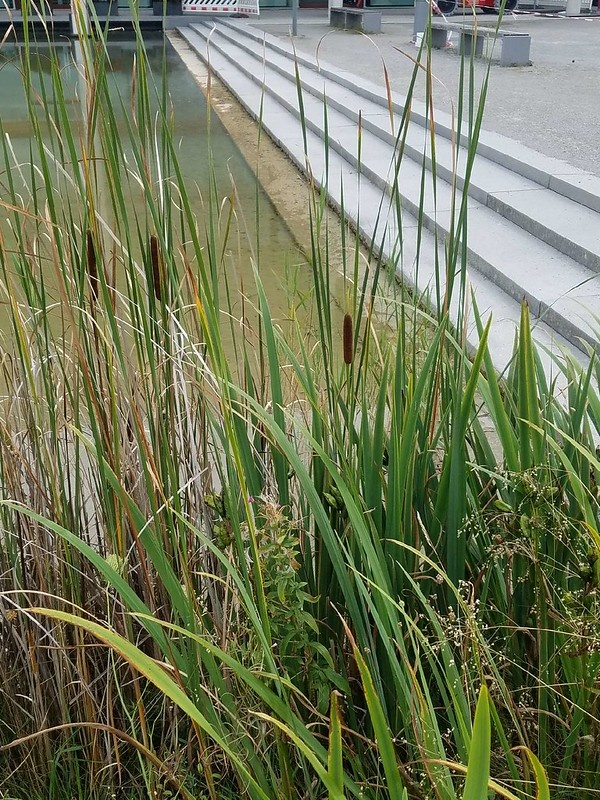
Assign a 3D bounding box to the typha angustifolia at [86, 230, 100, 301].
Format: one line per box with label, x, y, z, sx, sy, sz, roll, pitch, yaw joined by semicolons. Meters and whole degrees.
typha angustifolia;-0.233;-0.154;0.842;0.012;0.103;0.010;-5;9;-37
